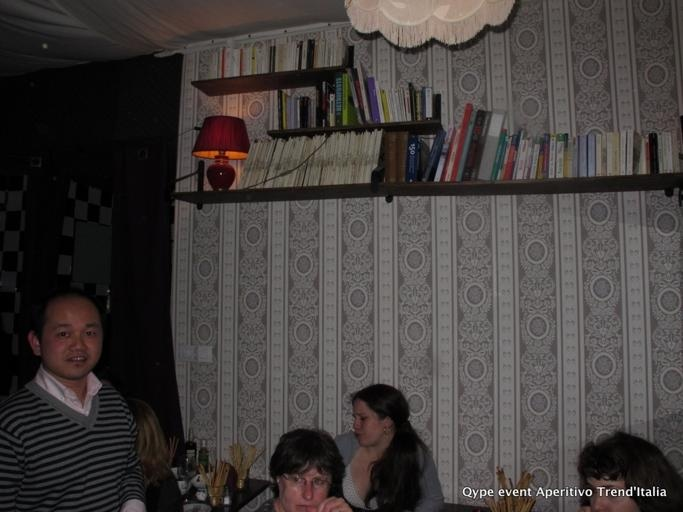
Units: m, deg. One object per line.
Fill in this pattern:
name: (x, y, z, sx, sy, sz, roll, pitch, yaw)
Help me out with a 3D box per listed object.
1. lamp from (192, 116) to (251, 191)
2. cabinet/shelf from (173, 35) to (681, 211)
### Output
lamp: (-0.783, -0.642, 4.517, 0.318, 0.488, 0.387, 2, -1, 1)
cabinet/shelf: (0.463, -0.738, 4.285, 2.876, 0.788, 0.367, 1, -9, 12)
